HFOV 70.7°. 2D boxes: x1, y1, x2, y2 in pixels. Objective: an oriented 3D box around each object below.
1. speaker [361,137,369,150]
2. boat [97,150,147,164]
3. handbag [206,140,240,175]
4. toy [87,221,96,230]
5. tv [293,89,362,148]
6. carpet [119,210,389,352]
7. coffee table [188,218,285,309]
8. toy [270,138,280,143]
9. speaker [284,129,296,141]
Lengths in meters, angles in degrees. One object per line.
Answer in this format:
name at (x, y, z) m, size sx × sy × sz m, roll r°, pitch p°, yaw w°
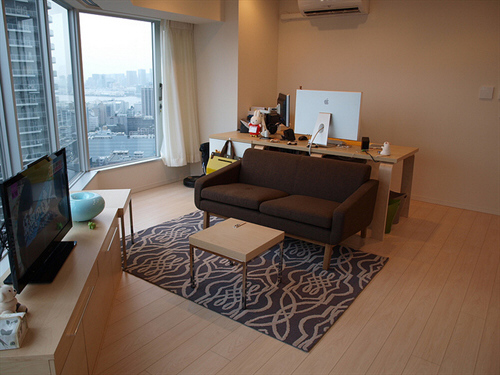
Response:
speaker at (1.365, -0.520, 4.191) m, size 0.094 × 0.127 × 0.229 m, roll 5°, pitch 20°, yaw 17°
boat at (-1.958, -0.468, 5.372) m, size 0.402 × 0.120 × 0.232 m, roll -17°, pitch 26°, yaw -40°
handbag at (-0.347, -0.402, 4.751) m, size 0.427 × 0.502 × 0.160 m, roll 11°, pitch 17°, yaw 29°
toy at (-1.249, 0.296, 2.777) m, size 0.056 × 0.056 × 0.052 m, roll 6°, pitch 9°, yaw 22°
tv at (0.929, -0.907, 4.310) m, size 0.849 × 0.599 × 0.069 m, roll 10°, pitch 30°, yaw 32°
carpet at (-0.053, 0.717, 3.716) m, size 2.487 × 0.019 × 1.824 m, roll 9°, pitch 20°, yaw 29°
coffee table at (-0.104, 0.567, 3.087) m, size 0.655 × 0.528 × 0.703 m, roll 12°, pitch 20°, yaw 30°
toy at (0.322, -0.608, 4.590) m, size 0.102 × 0.034 × 0.064 m, roll -7°, pitch 17°, yaw -31°
speaker at (0.516, -0.693, 4.658) m, size 0.158 × 0.160 × 0.105 m, roll -16°, pitch 13°, yaw -32°
